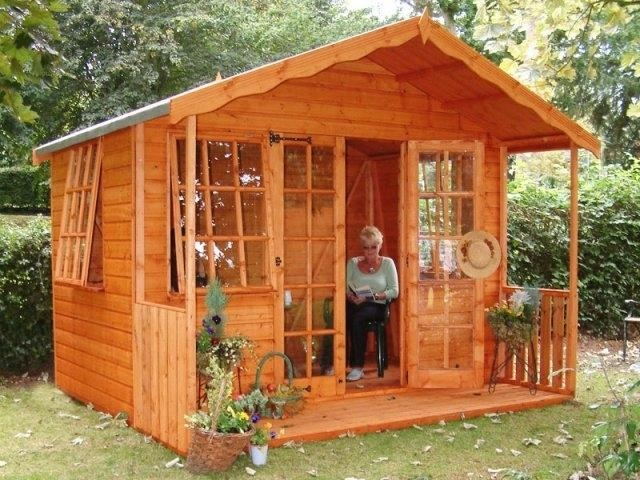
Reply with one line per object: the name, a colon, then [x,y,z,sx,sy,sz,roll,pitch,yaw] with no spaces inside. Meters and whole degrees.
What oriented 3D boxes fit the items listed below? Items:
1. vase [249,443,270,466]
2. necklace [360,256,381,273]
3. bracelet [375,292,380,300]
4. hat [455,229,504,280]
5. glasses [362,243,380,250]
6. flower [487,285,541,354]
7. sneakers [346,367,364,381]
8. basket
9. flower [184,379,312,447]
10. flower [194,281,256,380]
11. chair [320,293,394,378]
vase: [-0.549,1.911,5.081,0.151,0.166,0.174,2,0,17]
necklace: [0.648,0.332,7.430,0.218,0.231,0.084,2,6,22]
bracelet: [0.730,0.728,7.277,0.052,0.076,0.022,1,6,16]
hat: [2.014,0.188,7.195,0.544,0.632,0.208,0,1,14]
glasses: [0.667,0.088,7.365,0.231,0.146,0.203,0,1,-1]
flower: [2.414,0.976,6.972,0.684,0.788,0.679,0,-1,4]
sneakers: [0.439,1.738,7.297,0.108,0.108,0.262,-3,-5,31]
basket: [-0.863,1.788,4.870,0.417,0.300,0.430,8,-9,36]
flower: [-0.724,1.645,5.424,0.699,0.302,0.729,-1,-1,-37]
flower: [-1.012,0.892,5.562,0.433,1.005,0.803,0,1,15]
chair: [0.476,1.238,7.282,0.888,1.074,0.856,-4,-15,-22]
